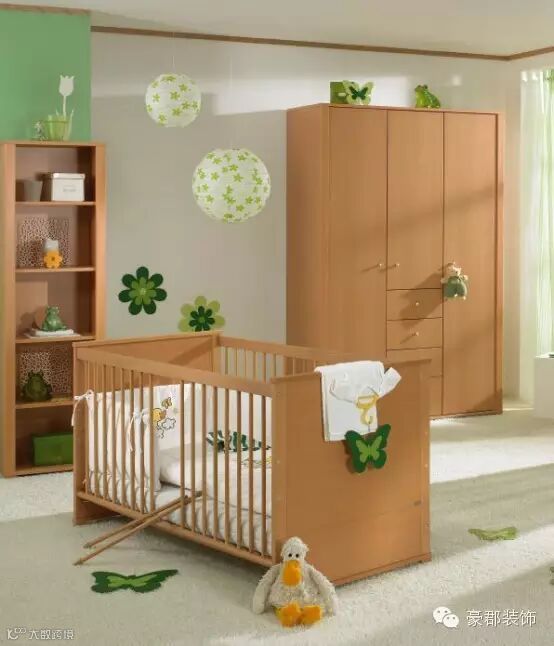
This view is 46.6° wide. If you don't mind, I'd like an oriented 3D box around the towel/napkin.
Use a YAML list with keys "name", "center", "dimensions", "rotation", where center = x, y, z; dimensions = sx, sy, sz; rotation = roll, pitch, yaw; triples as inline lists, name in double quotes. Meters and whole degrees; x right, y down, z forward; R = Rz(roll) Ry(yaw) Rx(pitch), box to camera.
- name: "towel/napkin"
  center: [0.236, 0.234, 1.920]
  dimensions: [0.258, 0.173, 0.070]
  rotation: [-5, 2, -44]

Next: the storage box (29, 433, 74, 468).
- name: "storage box"
  center: [-1.190, 0.658, 3.400]
  dimensions: [0.183, 0.110, 0.181]
  rotation: [0, -1, -30]

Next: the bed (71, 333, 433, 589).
- name: "bed"
  center: [-0.131, 0.433, 2.419]
  dimensions: [0.824, 0.688, 1.174]
  rotation: [-5, 7, -42]

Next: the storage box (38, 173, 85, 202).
- name: "storage box"
  center: [-1.137, -0.685, 3.410]
  dimensions: [0.188, 0.130, 0.186]
  rotation: [0, 1, -31]

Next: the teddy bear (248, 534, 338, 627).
- name: "teddy bear"
  center: [0.042, 0.698, 1.735]
  dimensions: [0.232, 0.195, 0.130]
  rotation: [0, -6, 7]
